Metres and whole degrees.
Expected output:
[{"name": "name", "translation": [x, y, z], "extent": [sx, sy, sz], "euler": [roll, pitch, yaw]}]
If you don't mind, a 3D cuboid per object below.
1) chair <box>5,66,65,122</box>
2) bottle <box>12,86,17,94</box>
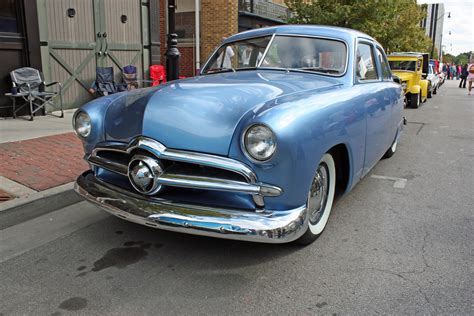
[{"name": "chair", "translation": [-5.641, -1.800, 8.273], "extent": [0.903, 1.322, 1.162], "euler": [8, 14, 28]}, {"name": "bottle", "translation": [-5.951, -1.829, 8.106], "extent": [0.142, 0.201, 0.266], "euler": [-12, 19, -33]}]
